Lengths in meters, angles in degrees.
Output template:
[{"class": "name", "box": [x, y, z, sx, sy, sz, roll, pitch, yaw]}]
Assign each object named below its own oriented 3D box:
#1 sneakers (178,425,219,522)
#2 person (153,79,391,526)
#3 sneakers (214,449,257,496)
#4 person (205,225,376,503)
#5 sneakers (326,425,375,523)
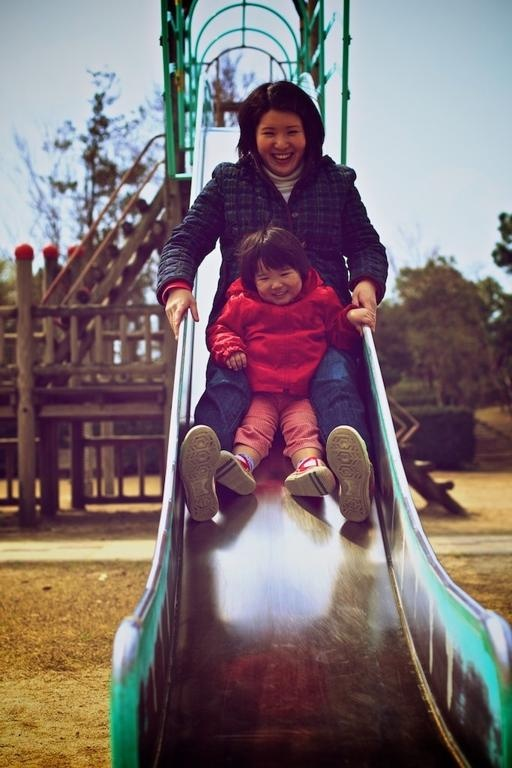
[{"class": "sneakers", "box": [-0.146, 0.237, 2.179, 0.089, 0.259, 0.102, -3, 6, -23]}, {"class": "person", "box": [0.041, -0.377, 2.634, 0.654, 1.497, 1.032, -1, -1, 10]}, {"class": "sneakers", "box": [-0.058, 0.250, 2.270, 0.069, 0.169, 0.078, -10, 40, 17]}, {"class": "person", "box": [0.118, -0.081, 2.446, 0.476, 0.864, 0.656, 0, -7, 2]}, {"class": "sneakers", "box": [0.265, 0.240, 2.213, 0.098, 0.273, 0.111, -2, 5, 25]}]
